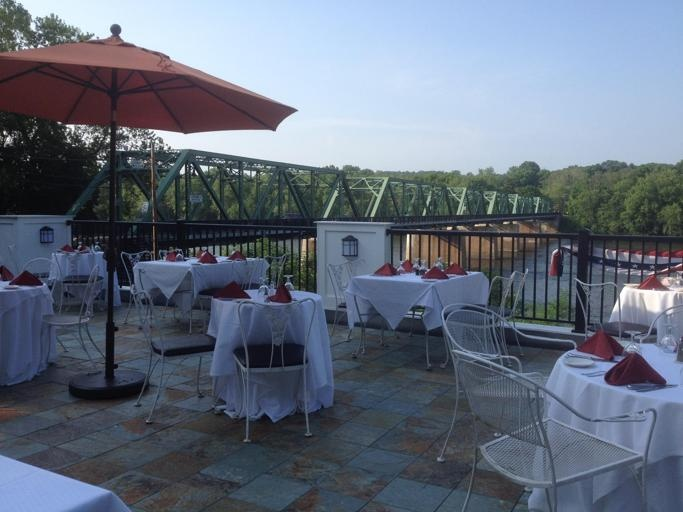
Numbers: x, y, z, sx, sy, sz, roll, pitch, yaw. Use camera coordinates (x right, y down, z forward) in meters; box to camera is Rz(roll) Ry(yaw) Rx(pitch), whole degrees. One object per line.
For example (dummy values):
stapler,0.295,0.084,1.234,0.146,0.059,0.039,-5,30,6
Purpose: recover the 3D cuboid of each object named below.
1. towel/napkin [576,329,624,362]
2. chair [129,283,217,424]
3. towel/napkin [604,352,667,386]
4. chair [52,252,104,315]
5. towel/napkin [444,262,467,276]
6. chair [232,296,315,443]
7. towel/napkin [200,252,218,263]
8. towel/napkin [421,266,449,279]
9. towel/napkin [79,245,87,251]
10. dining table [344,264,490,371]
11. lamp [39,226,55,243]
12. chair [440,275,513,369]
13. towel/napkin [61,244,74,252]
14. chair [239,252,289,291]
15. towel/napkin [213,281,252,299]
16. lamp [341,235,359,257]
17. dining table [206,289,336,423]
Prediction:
towel/napkin,1.943,0.637,4.338,0.198,0.133,0.264,-9,-6,-9
chair,-1.981,0.841,6.692,0.785,1.293,2.450,-3,10,-20
towel/napkin,1.903,0.714,3.832,0.385,0.198,0.187,2,-3,-3
chair,-4.533,0.404,10.024,1.008,1.155,0.985,3,0,-41
towel/napkin,2.070,0.183,10.603,0.331,0.155,0.337,0,-4,19
chair,-0.614,0.972,5.549,0.803,1.219,0.686,-1,10,-10
towel/napkin,-2.177,-0.003,9.531,0.209,0.100,0.273,-1,6,-17
towel/napkin,1.231,0.190,7.627,0.308,0.120,0.358,2,10,8
towel/napkin,-4.916,-0.178,11.157,0.121,0.093,0.123,-2,-3,34
dining table,1.093,0.780,7.944,1.504,0.813,1.274,-1,0,30
lamp,-6.513,-0.509,12.938,0.348,0.563,0.314,-1,2,-19
chair,1.438,0.674,6.297,0.868,1.087,0.781,4,18,26
towel/napkin,-5.180,-0.167,11.077,0.222,0.118,0.225,0,1,-11
chair,-1.252,0.199,9.855,0.658,0.970,0.662,2,-4,12
towel/napkin,-1.332,0.379,6.990,0.267,0.170,0.014,6,-23,-10
lamp,0.160,-0.203,9.645,0.305,0.489,0.339,1,3,25
dining table,-0.765,0.959,6.081,1.158,1.067,1.189,0,-1,-16
